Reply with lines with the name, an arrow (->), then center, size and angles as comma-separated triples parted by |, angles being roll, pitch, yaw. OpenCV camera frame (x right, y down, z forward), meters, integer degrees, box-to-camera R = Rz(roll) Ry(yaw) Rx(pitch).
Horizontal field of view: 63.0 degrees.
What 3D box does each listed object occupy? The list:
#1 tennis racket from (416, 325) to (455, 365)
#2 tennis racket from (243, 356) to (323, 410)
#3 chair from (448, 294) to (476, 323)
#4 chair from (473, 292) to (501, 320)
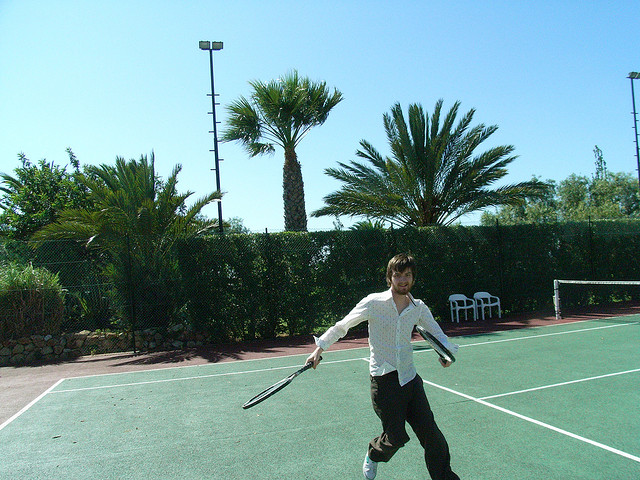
tennis racket -> 1.448, 1.334, 6.563 | 0.447, 0.115, 0.412 | 42, 4, 18
tennis racket -> -0.536, 1.813, 6.478 | 0.926, 0.507, 0.684 | -4, 4, -18
chair -> 4.972, 2.366, 18.282 | 0.940, 1.284, 0.840 | 3, -9, -22
chair -> 5.906, 2.323, 18.576 | 0.913, 1.354, 0.885 | 1, -8, -17
